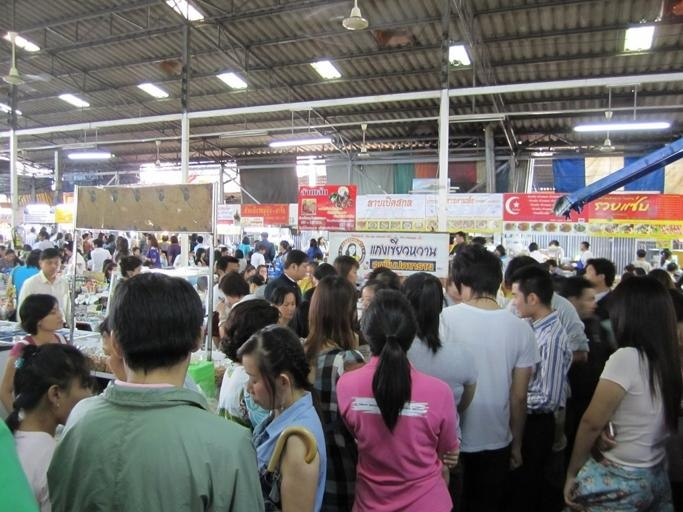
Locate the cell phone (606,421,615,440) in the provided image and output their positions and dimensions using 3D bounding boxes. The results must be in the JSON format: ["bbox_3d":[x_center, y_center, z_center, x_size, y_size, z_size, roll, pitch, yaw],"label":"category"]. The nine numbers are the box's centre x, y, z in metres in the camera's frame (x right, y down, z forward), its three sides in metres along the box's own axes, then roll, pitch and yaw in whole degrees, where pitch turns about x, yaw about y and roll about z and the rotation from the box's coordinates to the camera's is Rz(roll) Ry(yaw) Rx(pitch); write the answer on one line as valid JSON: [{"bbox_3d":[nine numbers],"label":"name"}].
[{"bbox_3d":[1.362,0.890,2.861,0.026,0.085,0.035,2,10,-3],"label":"cell phone"}]
